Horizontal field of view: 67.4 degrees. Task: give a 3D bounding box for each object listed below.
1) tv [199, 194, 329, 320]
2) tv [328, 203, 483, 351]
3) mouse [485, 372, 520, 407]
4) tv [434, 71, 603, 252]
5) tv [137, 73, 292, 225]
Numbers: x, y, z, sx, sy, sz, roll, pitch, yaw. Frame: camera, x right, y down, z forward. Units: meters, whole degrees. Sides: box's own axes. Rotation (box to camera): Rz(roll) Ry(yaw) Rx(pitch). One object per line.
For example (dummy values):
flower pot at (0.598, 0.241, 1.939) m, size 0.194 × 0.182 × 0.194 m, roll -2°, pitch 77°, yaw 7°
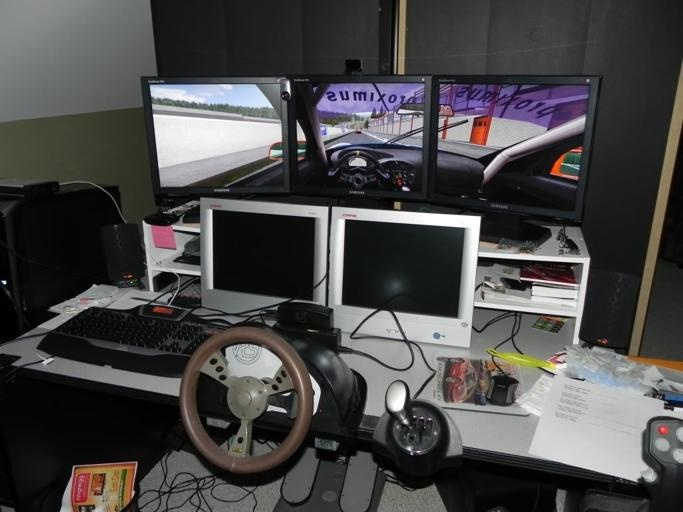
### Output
tv at (-0.332, 0.009, 2.264) m, size 0.502 × 0.437 × 0.177 m, roll 3°, pitch 10°, yaw 10°
tv at (0.252, 0.098, 2.154) m, size 0.583 × 0.516 × 0.064 m, roll 4°, pitch 6°, yaw 15°
mouse at (0.596, 0.495, 1.888) m, size 0.087 × 0.115 × 0.044 m, roll 9°, pitch -12°, yaw 16°
tv at (0.749, -0.420, 2.240) m, size 0.745 × 0.783 × 0.259 m, roll 7°, pitch 19°, yaw 19°
tv at (-0.565, -0.509, 2.396) m, size 0.783 × 0.686 × 0.138 m, roll -1°, pitch 15°, yaw -1°
